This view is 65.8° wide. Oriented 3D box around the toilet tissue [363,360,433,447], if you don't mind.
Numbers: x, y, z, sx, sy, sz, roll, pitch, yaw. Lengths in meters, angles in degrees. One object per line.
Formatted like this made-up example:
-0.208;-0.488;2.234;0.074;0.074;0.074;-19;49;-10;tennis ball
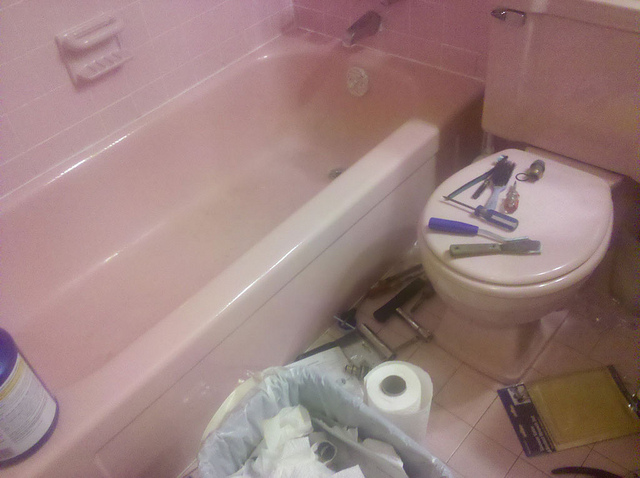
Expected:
0.195;0.377;1.201;0.150;0.193;0.124;-2;37;3;toilet tissue

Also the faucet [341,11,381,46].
0.148;-0.750;1.776;0.073;0.114;0.033;44;29;7;faucet
